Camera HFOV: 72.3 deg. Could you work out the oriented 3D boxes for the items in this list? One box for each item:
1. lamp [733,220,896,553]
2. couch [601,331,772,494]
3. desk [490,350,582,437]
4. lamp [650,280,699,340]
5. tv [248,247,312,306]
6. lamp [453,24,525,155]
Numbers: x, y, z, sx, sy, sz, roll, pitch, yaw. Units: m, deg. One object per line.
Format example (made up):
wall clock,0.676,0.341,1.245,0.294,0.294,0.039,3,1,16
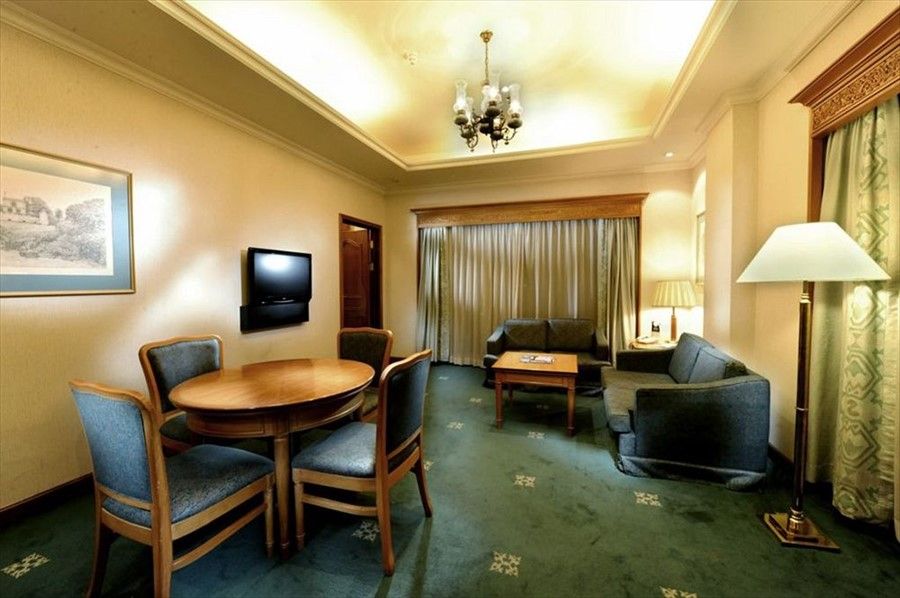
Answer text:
lamp,2.715,0.634,4.743,0.965,2.465,0.602,0,2,15
couch,2.099,1.044,5.637,1.134,0.962,1.868,-1,2,12
desk,0.904,0.952,6.479,0.837,0.699,1.101,-1,1,8
lamp,2.518,0.125,7.132,0.657,0.873,0.648,-1,1,22
tv,-1.809,-0.233,6.583,0.114,0.564,0.891,0,2,28
lamp,0.354,-2.024,5.863,0.633,1.121,0.663,-2,-3,35
